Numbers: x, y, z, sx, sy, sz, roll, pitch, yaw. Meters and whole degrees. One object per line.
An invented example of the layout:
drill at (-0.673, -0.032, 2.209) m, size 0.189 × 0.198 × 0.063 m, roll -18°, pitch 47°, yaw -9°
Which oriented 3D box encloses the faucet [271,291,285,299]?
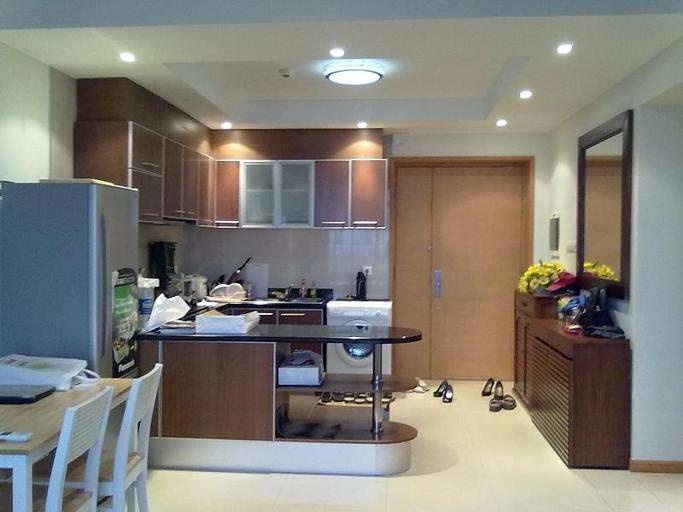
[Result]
faucet at (-0.704, 0.433, 6.249) m, size 0.123 × 0.082 × 0.067 m, roll 1°, pitch 4°, yaw 12°

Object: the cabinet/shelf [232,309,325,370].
cabinet/shelf at (-0.515, 0.671, 4.517) m, size 0.698 × 0.630 × 0.271 m, roll 0°, pitch -5°, yaw 5°

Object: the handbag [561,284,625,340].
handbag at (2.011, 0.458, 4.490) m, size 0.281 × 0.295 × 0.433 m, roll -1°, pitch 2°, yaw -20°

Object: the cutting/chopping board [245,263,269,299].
cutting/chopping board at (-0.961, 0.265, 6.375) m, size 0.267 × 0.379 × 0.158 m, roll -1°, pitch 8°, yaw -7°

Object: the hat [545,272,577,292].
hat at (2.032, 0.238, 5.195) m, size 0.214 × 0.110 × 0.169 m, roll -25°, pitch 1°, yaw 13°

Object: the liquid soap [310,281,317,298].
liquid soap at (-0.316, 0.374, 6.290) m, size 0.086 × 0.161 × 0.221 m, roll 0°, pitch 8°, yaw -5°

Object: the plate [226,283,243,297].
plate at (-1.128, 0.365, 5.942) m, size 0.151 × 0.112 × 0.132 m, roll 0°, pitch -1°, yaw -10°

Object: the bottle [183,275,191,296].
bottle at (-1.579, 0.315, 5.748) m, size 0.082 × 0.193 × 0.189 m, roll -2°, pitch 8°, yaw -15°

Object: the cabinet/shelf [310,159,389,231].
cabinet/shelf at (0.058, -0.705, 6.132) m, size 0.821 × 0.697 × 0.280 m, roll -2°, pitch 7°, yaw -16°

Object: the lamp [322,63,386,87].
lamp at (0.102, -1.585, 4.885) m, size 0.387 × 0.089 × 0.432 m, roll -6°, pitch 10°, yaw -38°

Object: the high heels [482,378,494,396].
high heels at (1.571, 1.419, 6.026) m, size 0.083 × 0.065 × 0.241 m, roll -3°, pitch 24°, yaw 30°

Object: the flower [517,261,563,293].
flower at (1.954, 0.185, 5.432) m, size 0.325 × 0.187 × 0.328 m, roll -9°, pitch 1°, yaw 38°

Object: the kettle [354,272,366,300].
kettle at (0.221, 0.323, 6.252) m, size 0.129 × 0.292 × 0.227 m, roll 1°, pitch 8°, yaw 2°

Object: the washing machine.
washing machine at (0.133, 0.855, 5.935) m, size 0.797 × 1.059 × 0.722 m, roll 1°, pitch -6°, yaw 2°

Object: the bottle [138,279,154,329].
bottle at (-1.525, 0.365, 4.365) m, size 0.112 × 0.356 × 0.176 m, roll -2°, pitch 8°, yaw -13°

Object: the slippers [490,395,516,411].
slippers at (1.608, 1.476, 5.580) m, size 0.237 × 0.077 × 0.369 m, roll 5°, pitch 9°, yaw 27°

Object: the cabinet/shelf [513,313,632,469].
cabinet/shelf at (1.988, 1.055, 5.175) m, size 0.463 × 1.026 × 1.915 m, roll 1°, pitch 2°, yaw 2°

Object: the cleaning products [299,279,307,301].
cleaning products at (-0.428, 0.359, 6.266) m, size 0.084 × 0.182 × 0.296 m, roll 0°, pitch 8°, yaw -4°
